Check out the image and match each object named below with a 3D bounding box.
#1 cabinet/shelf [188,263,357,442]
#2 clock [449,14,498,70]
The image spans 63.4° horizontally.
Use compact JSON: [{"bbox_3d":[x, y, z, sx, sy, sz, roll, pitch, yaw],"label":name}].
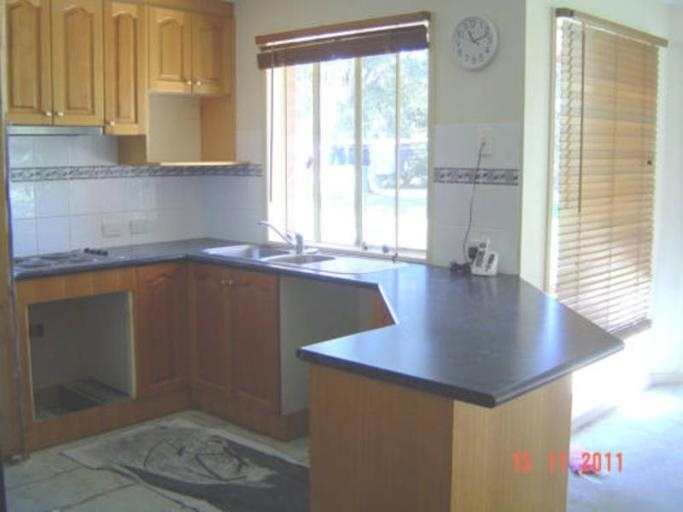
[{"bbox_3d":[-0.576,0.416,4.163,1.020,1.473,1.503,-9,12,-43],"label":"cabinet/shelf"},{"bbox_3d":[0.783,-1.246,3.205,0.355,0.381,0.075,3,7,36],"label":"clock"}]
